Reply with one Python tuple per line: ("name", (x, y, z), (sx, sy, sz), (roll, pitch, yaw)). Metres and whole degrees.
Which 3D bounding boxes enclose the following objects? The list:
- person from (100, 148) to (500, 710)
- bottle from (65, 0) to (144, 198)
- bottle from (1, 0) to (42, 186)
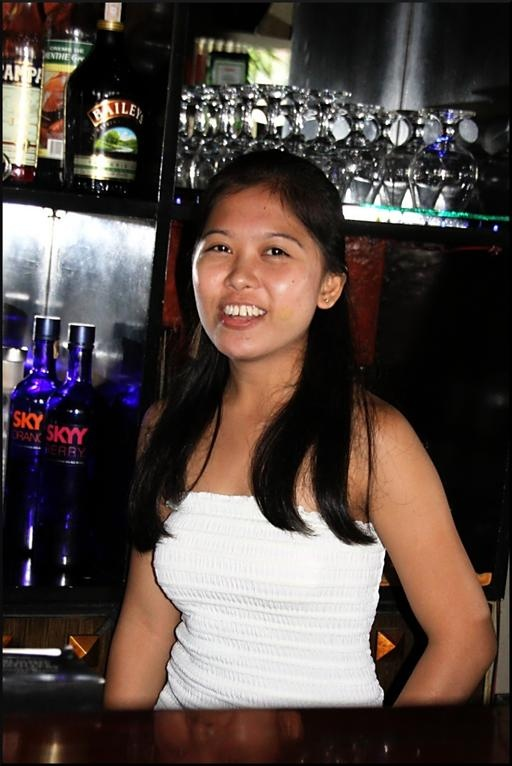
("person", (0.031, 0.104, 0.931), (0.304, 0.897, 0.620), (-3, 10, -45))
("bottle", (-0.254, -0.480, 1.063), (0.130, 0.318, 0.078), (3, 7, -13))
("bottle", (-0.401, -0.506, 1.083), (0.064, 0.318, 0.123), (1, 8, -21))
